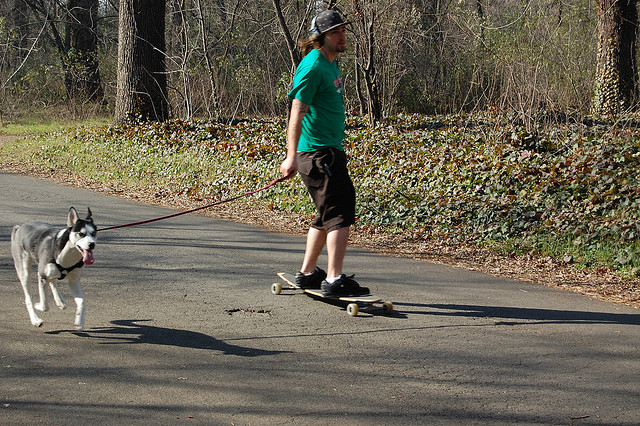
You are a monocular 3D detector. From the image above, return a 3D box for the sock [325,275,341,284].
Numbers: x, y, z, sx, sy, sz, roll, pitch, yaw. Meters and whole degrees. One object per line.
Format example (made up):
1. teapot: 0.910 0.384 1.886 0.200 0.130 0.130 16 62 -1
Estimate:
1. sock: 0.282 1.360 20.698 0.255 0.091 0.139 -26 3 -4
